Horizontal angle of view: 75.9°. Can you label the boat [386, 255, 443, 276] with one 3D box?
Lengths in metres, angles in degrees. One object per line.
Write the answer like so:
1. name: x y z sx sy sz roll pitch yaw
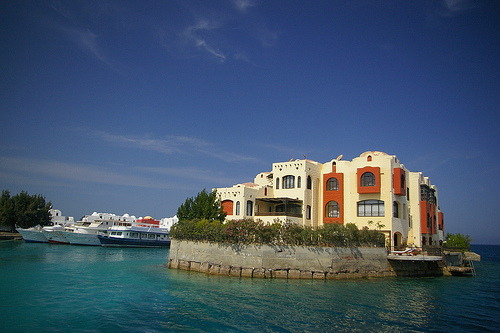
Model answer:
1. boat: 24.185 14.881 47.552 9.580 4.029 3.063 3 -4 -9
